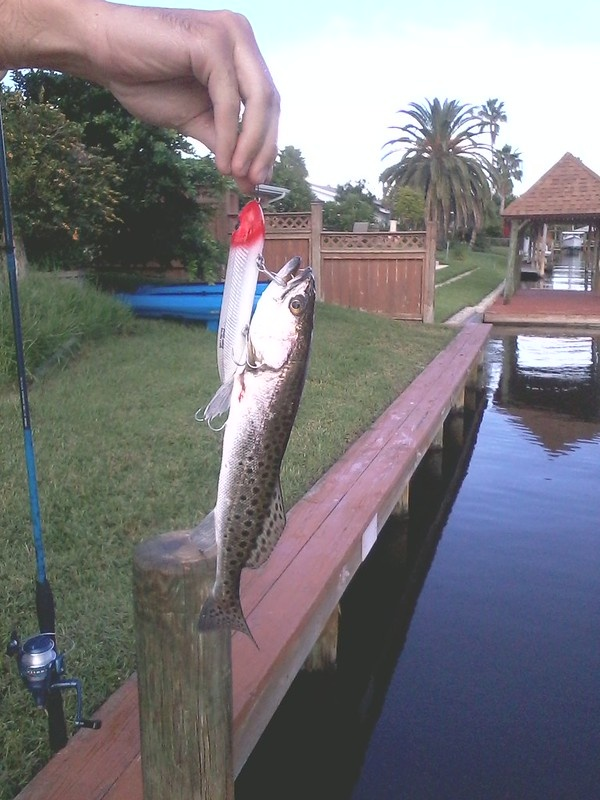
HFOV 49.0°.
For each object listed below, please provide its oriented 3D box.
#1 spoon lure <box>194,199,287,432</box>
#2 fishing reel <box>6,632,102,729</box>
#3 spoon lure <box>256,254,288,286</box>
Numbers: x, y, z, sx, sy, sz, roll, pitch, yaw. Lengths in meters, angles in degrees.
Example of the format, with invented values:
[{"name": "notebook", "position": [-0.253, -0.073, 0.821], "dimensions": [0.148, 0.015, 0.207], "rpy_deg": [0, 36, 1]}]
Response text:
[{"name": "spoon lure", "position": [-0.085, -0.122, 0.851], "dimensions": [0.102, 0.278, 0.165], "rpy_deg": [-5, 11, -9]}, {"name": "fishing reel", "position": [-0.598, 0.694, 1.607], "dimensions": [0.181, 0.303, 0.174], "rpy_deg": [-9, 13, -29]}, {"name": "spoon lure", "position": [-0.033, -0.154, 0.815], "dimensions": [0.041, 0.013, 0.023], "rpy_deg": [39, 34, -22]}]
